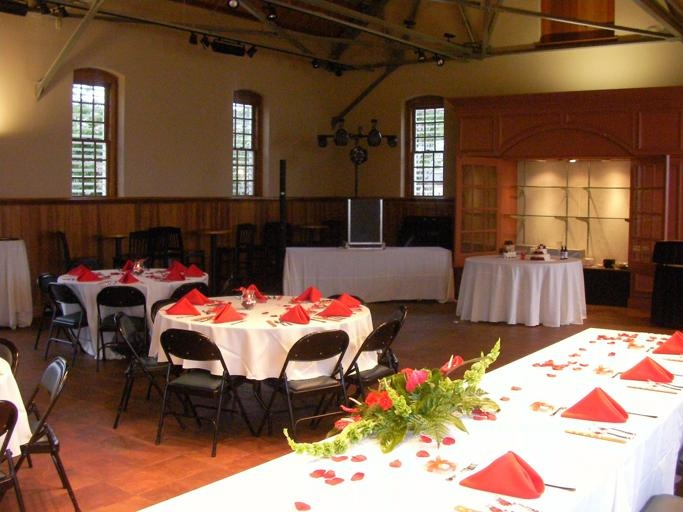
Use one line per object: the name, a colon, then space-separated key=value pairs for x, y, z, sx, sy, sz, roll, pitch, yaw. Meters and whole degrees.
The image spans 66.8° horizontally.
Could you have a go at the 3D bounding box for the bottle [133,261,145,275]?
bottle: x=-2.597 y=0.148 z=6.697 sx=0.154 sy=0.206 sz=0.151 roll=1 pitch=7 yaw=0

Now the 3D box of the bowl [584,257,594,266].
bowl: x=4.677 y=0.116 z=9.885 sx=0.161 sy=0.154 sz=0.152 roll=-1 pitch=-1 yaw=0

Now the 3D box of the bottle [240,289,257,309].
bottle: x=-0.822 y=0.378 z=4.731 sx=0.165 sy=0.165 sz=0.132 roll=1 pitch=2 yaw=-2

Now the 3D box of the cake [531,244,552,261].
cake: x=3.029 y=-0.033 z=7.888 sx=0.286 sy=0.190 sz=0.289 roll=5 pitch=9 yaw=44

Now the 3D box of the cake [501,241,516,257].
cake: x=2.785 y=-0.107 z=8.739 sx=0.244 sy=0.350 sz=0.307 roll=3 pitch=10 yaw=14
